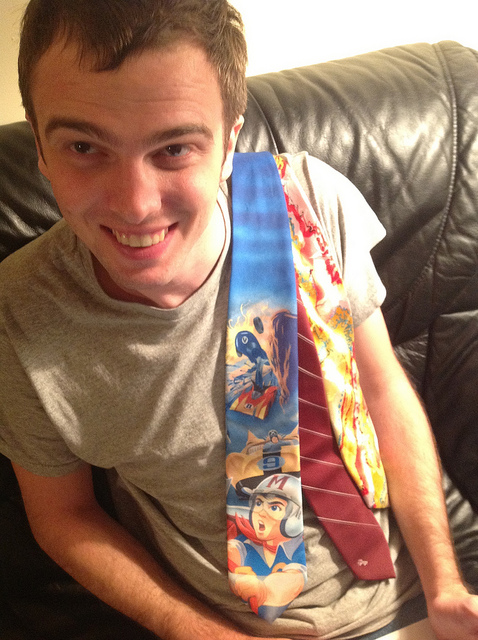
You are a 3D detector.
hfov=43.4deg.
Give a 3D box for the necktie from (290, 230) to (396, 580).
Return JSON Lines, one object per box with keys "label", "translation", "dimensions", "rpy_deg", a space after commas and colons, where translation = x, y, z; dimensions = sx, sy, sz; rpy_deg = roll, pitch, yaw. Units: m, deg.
{"label": "necktie", "translation": [0.136, 0.139, 0.879], "dimensions": [0.111, 0.537, 0.012], "rpy_deg": [-8, 3, 27]}
